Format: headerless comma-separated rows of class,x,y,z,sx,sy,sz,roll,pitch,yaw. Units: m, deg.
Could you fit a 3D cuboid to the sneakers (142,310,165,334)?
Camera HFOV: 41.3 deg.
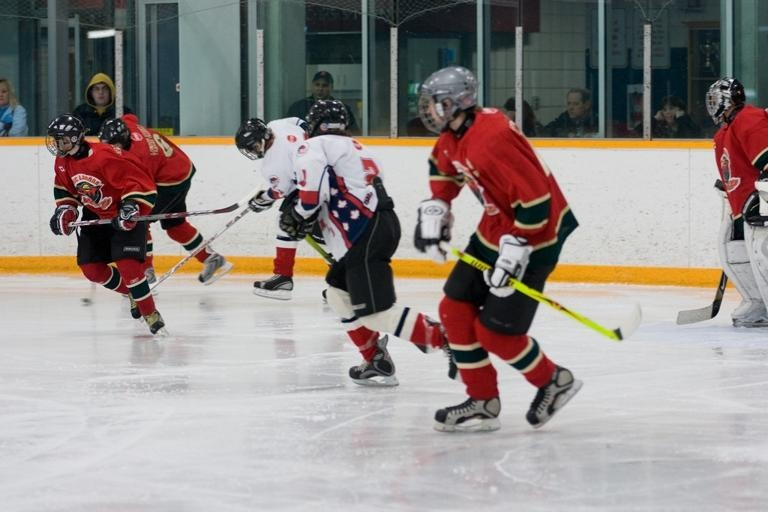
sneakers,-1.446,0.421,6.455,0.079,0.090,0.207,-37,-7,-14

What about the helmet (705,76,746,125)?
helmet,2.194,-1.026,6.698,0.331,0.327,0.293,0,0,16

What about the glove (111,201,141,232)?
glove,-1.579,-0.249,6.393,0.172,0.182,0.091,-1,-29,45

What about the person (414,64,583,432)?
person,0.534,-0.024,4.857,0.831,1.727,0.456,3,15,16

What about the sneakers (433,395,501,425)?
sneakers,0.406,0.765,4.984,0.376,0.141,0.117,2,-4,-1

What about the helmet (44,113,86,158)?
helmet,-1.963,-0.755,6.345,0.314,0.249,0.226,-1,20,3

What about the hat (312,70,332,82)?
hat,-0.515,-1.553,8.712,0.099,0.061,0.123,11,-23,10

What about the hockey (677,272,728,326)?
hockey,2.115,0.355,6.898,0.351,0.112,0.597,-6,6,8

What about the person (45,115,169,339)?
person,-1.771,-0.215,6.539,0.854,1.402,0.542,10,19,38

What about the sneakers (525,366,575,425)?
sneakers,0.801,0.684,4.924,0.141,0.304,0.107,39,11,-41

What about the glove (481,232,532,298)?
glove,0.576,0.042,4.736,0.217,0.302,0.159,1,15,7

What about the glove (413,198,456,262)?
glove,0.239,-0.131,4.922,0.217,0.293,0.147,1,-29,5

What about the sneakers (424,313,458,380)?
sneakers,0.293,0.449,5.202,0.162,0.351,0.126,-19,14,11
